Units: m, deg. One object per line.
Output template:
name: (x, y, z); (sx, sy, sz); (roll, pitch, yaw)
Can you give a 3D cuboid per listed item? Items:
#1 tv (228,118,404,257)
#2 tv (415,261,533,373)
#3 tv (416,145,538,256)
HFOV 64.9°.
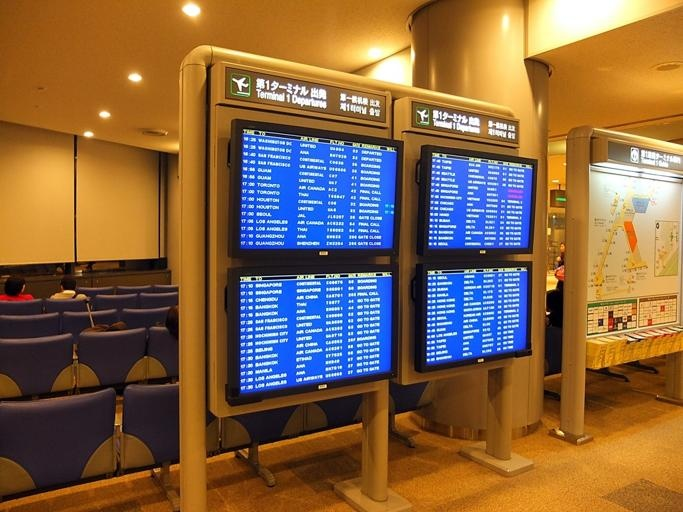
tv: (-0.204, -0.431, 3.478); (0.884, 0.641, 0.118); (-1, 4, -28)
tv: (0.978, 0.448, 4.096); (0.816, 0.599, 0.106); (-2, 3, -29)
tv: (0.990, -0.404, 4.051); (0.813, 0.583, 0.084); (-1, 3, -27)
